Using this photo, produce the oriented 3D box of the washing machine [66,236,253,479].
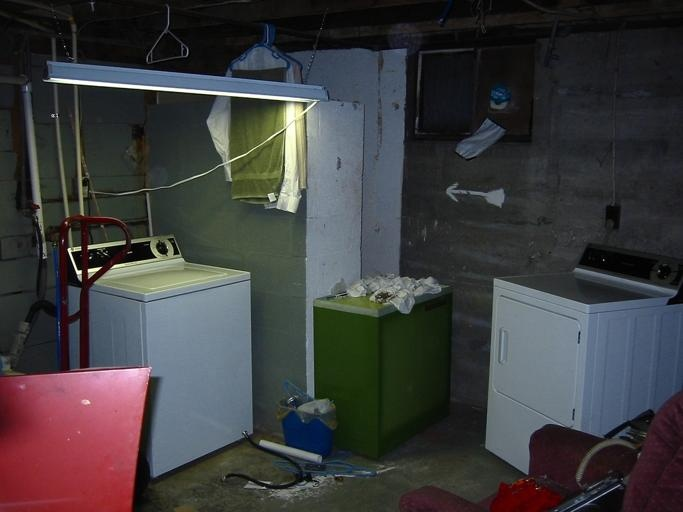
[{"bbox_3d":[-1.118,0.634,3.702,0.732,1.292,0.969,9,15,40],"label":"washing machine"}]
